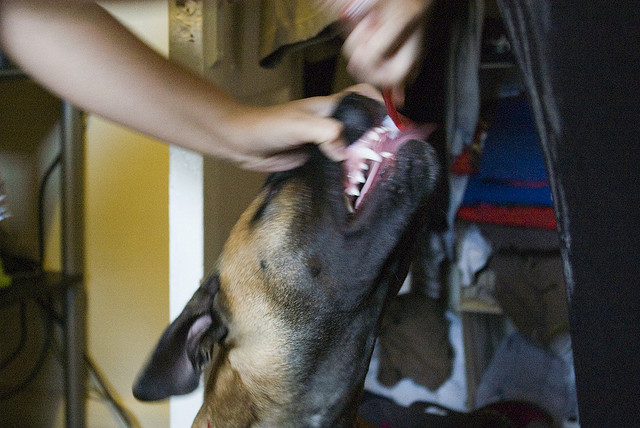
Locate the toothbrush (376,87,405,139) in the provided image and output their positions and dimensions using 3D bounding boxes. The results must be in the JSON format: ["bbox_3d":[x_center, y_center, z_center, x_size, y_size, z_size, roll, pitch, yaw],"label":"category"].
[{"bbox_3d":[0.110,-0.148,1.005,0.020,0.065,0.042,-11,-7,-43],"label":"toothbrush"}]
